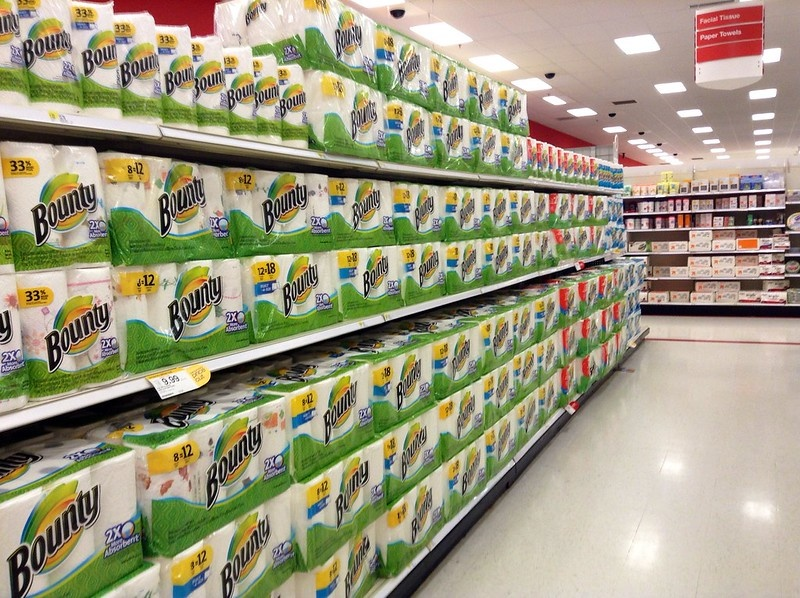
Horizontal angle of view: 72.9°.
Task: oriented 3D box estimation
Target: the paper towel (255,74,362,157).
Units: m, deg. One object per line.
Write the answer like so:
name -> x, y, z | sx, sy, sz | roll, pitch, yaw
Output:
paper towel -> -0.331, -0.651, 2.127 | 0.230, 0.434, 0.443 | 3, 8, 26

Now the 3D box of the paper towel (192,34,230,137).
paper towel -> -0.592, -0.670, 1.690 | 0.117, 0.305, 0.063 | -7, 9, -33
